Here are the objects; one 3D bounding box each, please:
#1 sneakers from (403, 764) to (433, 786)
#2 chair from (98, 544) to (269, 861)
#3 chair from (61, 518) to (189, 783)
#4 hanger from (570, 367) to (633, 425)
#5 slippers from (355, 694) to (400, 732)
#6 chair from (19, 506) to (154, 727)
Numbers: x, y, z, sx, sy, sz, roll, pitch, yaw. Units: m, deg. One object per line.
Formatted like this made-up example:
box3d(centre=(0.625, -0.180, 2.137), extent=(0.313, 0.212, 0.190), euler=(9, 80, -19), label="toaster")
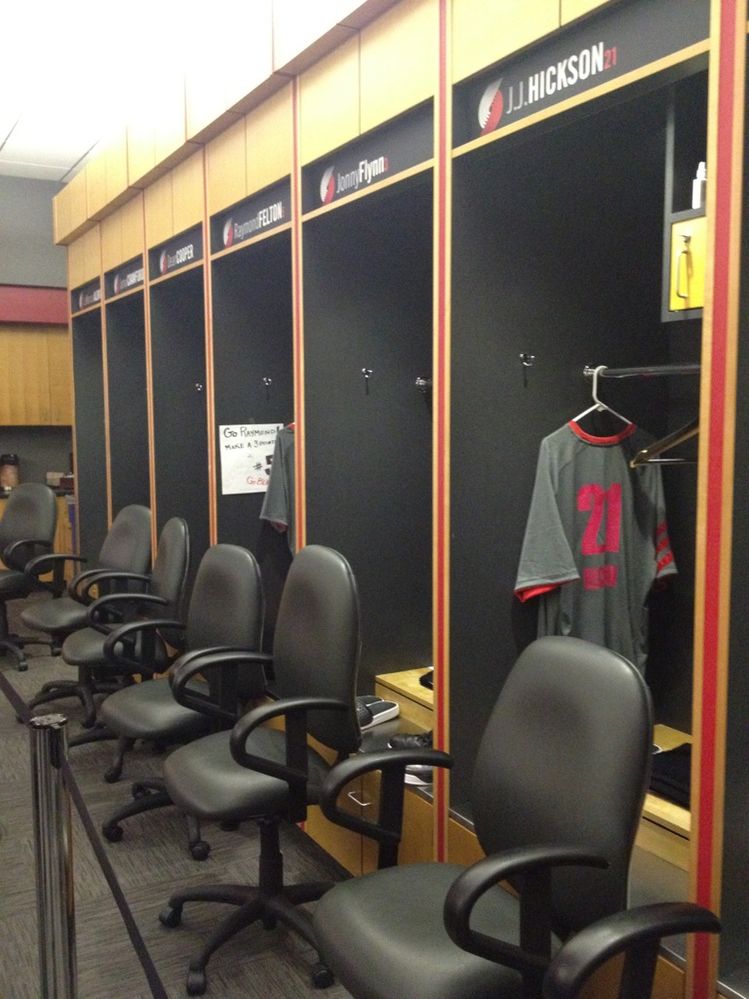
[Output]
box3d(centre=(0.130, 0.820, 2.324), extent=(0.068, 0.045, 0.132), euler=(2, -5, -2), label="sneakers")
box3d(centre=(-0.651, 0.632, 2.543), extent=(0.453, 0.913, 0.486), euler=(1, 5, -44), label="chair")
box3d(centre=(-1.170, 0.519, 3.365), extent=(0.513, 0.966, 0.489), euler=(30, 26, 35), label="chair")
box3d(centre=(0.607, -0.288, 2.172), extent=(0.137, 0.151, 0.130), euler=(-4, -5, 42), label="hanger")
box3d(centre=(-0.005, 0.734, 2.711), extent=(0.179, 0.064, 0.128), euler=(2, -2, -44), label="slippers")
box3d(centre=(-1.383, 0.523, 3.731), extent=(0.562, 1.014, 0.564), euler=(3, -3, 38), label="chair")
